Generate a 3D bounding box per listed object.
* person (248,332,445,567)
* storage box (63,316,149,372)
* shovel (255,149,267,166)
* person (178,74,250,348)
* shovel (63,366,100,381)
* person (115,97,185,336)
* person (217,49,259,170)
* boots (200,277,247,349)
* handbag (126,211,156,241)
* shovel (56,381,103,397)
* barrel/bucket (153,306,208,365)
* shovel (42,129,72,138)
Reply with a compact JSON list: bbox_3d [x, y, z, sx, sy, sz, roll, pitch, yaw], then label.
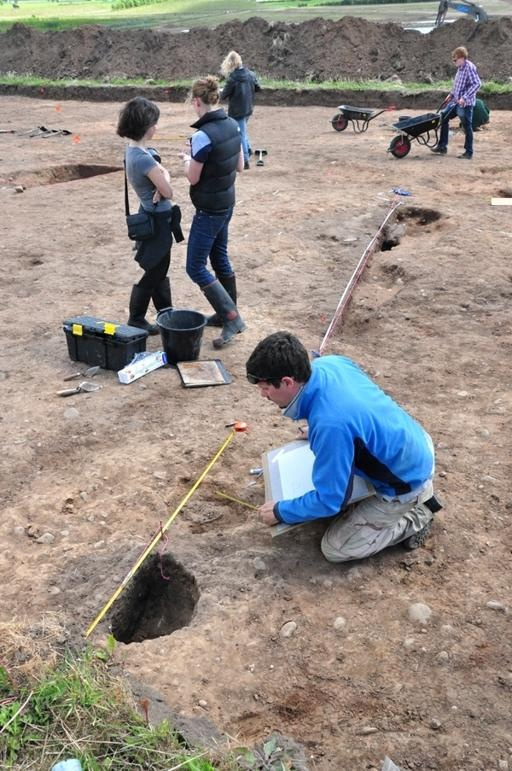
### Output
[{"bbox_3d":[0.351,0.243,3.620,0.844,1.193,0.712,-3,10,-20],"label":"person"},{"bbox_3d":[-1.097,-0.307,5.387,0.627,0.322,0.323,15,21,33],"label":"storage box"},{"bbox_3d":[0.072,-3.634,11.749,0.214,0.077,0.538,0,25,0],"label":"shovel"},{"bbox_3d":[-0.312,-1.218,5.451,0.477,1.962,0.756,-3,20,0],"label":"person"},{"bbox_3d":[-1.254,-0.080,5.284,0.218,0.041,0.047,-16,46,-10],"label":"shovel"},{"bbox_3d":[-0.759,-1.173,5.337,0.482,1.625,0.571,16,29,23],"label":"person"},{"bbox_3d":[-0.266,-3.889,10.407,0.520,1.449,0.563,19,38,27],"label":"person"},{"bbox_3d":[-0.241,-0.590,5.782,0.369,0.522,0.393,6,22,-3],"label":"boots"},{"bbox_3d":[-0.811,-1.113,5.190,0.191,0.214,0.154,-4,20,-4],"label":"handbag"},{"bbox_3d":[-1.212,0.026,5.048,0.242,0.046,0.107,-9,36,-32],"label":"shovel"},{"bbox_3d":[-0.553,-0.355,5.467,0.513,0.311,0.481,3,27,-1],"label":"barrel/bucket"},{"bbox_3d":[-3.881,-4.931,14.329,0.559,0.196,0.676,-7,18,-14],"label":"shovel"}]
